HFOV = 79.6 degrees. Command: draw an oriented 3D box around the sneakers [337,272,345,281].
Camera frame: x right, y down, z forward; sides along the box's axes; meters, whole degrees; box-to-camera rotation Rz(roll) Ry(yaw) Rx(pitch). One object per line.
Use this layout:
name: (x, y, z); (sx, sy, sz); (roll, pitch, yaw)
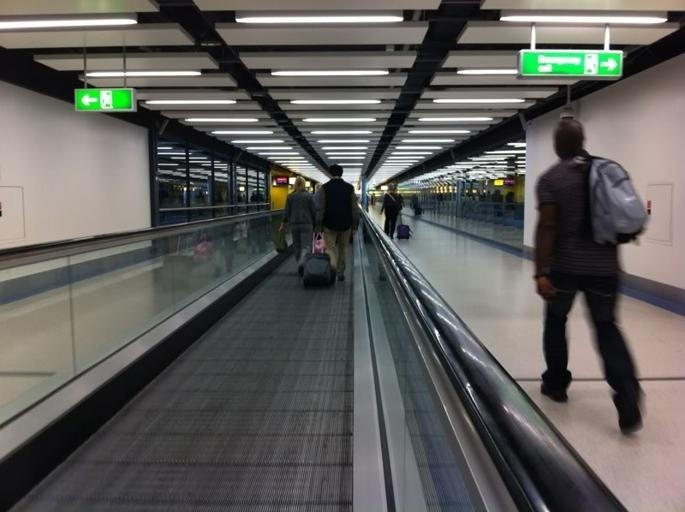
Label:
sneakers: (-0.032, 0.366, 7.495); (0.103, 0.143, 0.052); (-4, 18, 2)

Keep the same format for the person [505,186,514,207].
person: (5.370, -1.860, 13.235); (0.164, 0.596, 0.881); (2, 7, 13)
